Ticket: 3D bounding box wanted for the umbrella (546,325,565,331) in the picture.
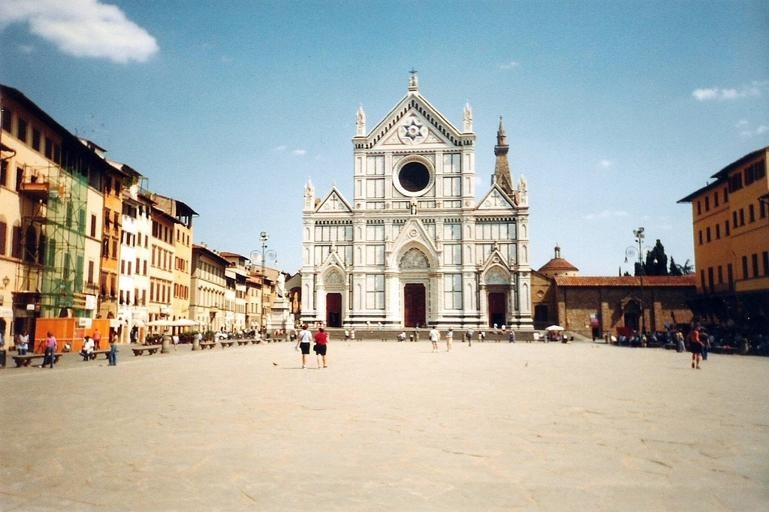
[{"bbox_3d":[15.559,6.578,58.072,1.191,0.554,1.531,0,-12,3],"label":"umbrella"}]
